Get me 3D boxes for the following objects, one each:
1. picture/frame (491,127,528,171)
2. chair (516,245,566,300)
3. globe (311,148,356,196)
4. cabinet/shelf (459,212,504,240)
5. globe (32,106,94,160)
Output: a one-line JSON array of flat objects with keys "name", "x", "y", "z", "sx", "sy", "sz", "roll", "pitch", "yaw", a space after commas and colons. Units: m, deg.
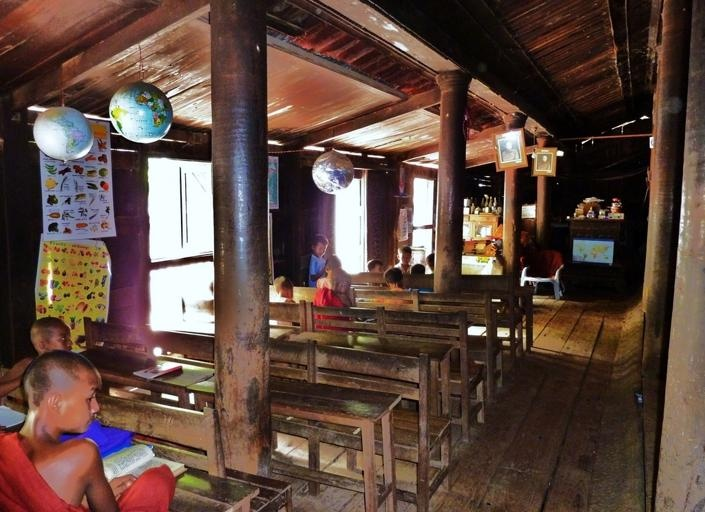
[{"name": "picture/frame", "x": 2.604, "y": -1.737, "z": 8.982, "sx": 0.518, "sy": 0.706, "sz": 0.055, "roll": -8, "pitch": -20, "yaw": 16}, {"name": "chair", "x": 4.235, "y": 0.349, "z": 11.859, "sx": 0.859, "sy": 0.932, "sz": 0.864, "roll": -5, "pitch": 11, "yaw": -10}, {"name": "globe", "x": -0.369, "y": -1.262, "z": 8.618, "sx": 0.626, "sy": 0.735, "sz": 0.624, "roll": 9, "pitch": -10, "yaw": -21}, {"name": "cabinet/shelf", "x": 3.037, "y": -0.689, "z": 12.625, "sx": 0.838, "sy": 0.803, "sz": 0.462, "roll": -1, "pitch": -3, "yaw": 41}, {"name": "globe", "x": -2.688, "y": -1.127, "z": 5.056, "sx": 0.332, "sy": 0.534, "sz": 0.447, "roll": 8, "pitch": 8, "yaw": 32}]
